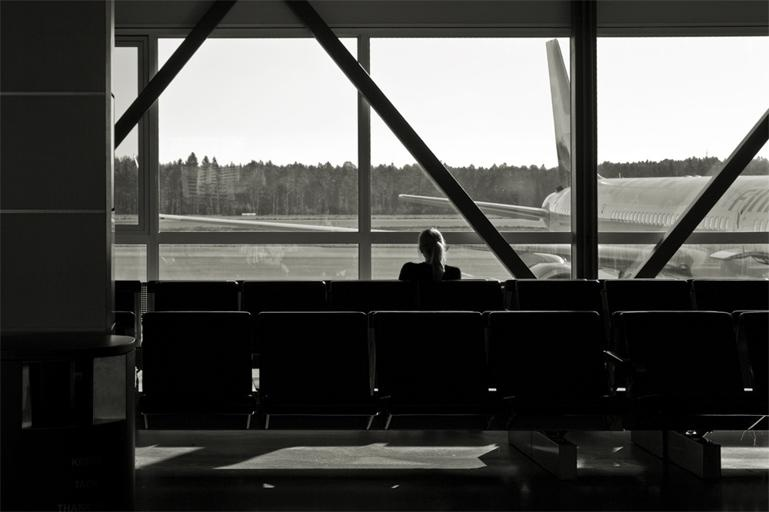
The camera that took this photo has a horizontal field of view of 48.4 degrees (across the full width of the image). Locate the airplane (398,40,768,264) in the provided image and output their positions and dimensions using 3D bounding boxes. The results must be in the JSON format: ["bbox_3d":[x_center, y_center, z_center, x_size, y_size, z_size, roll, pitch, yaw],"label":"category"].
[{"bbox_3d":[2.774,-1.105,10.814,3.271,1.463,3.353,11,10,42],"label":"airplane"}]
